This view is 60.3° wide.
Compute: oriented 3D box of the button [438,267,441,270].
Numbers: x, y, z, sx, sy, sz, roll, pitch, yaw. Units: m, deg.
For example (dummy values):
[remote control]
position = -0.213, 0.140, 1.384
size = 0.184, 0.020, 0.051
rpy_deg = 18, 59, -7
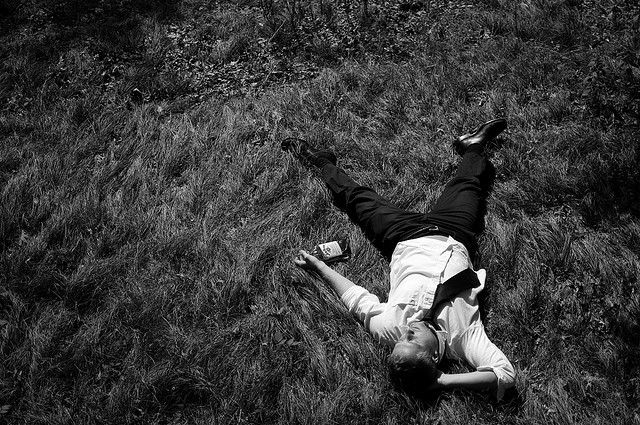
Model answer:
[button]
position = 1.306, 0.610, 6.034
size = 0.015, 0.004, 0.014
rpy_deg = 28, 61, 20
